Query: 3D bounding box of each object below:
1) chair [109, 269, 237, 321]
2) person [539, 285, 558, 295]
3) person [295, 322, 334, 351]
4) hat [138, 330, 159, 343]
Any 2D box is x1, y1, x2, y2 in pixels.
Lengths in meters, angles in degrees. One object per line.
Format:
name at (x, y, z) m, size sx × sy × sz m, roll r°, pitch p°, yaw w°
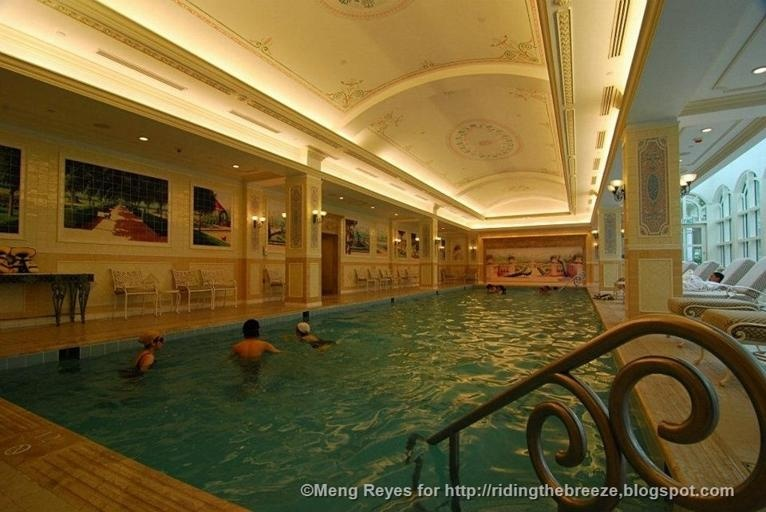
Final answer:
chair at (-5.089, 0.836, 9.945) m, size 0.851 × 1.145 × 2.665 m, roll 8°, pitch 8°, yaw 38°
person at (7.405, 1.493, 17.947) m, size 1.235 × 0.371 × 0.664 m, roll -1°, pitch -2°, yaw -32°
person at (-1.267, 1.418, 7.272) m, size 0.911 × 0.318 × 0.353 m, roll 12°, pitch 16°, yaw 37°
hat at (-3.600, 1.197, 6.274) m, size 0.264 × 0.085 × 0.232 m, roll -16°, pitch 11°, yaw 8°
